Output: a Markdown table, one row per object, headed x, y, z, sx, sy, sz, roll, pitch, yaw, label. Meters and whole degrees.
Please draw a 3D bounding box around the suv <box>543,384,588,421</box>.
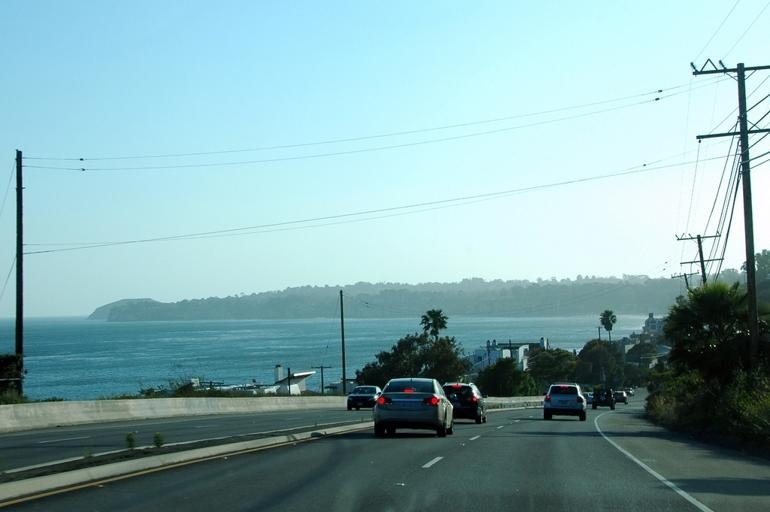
| x | y | z | sx | sy | sz | roll | pitch | yaw | label |
| --- | --- | --- | --- | --- | --- | --- | --- | --- | --- |
| 10.686 | 8.693 | 56.551 | 2.359 | 2.241 | 3.429 | -3 | -6 | 9 | suv |
